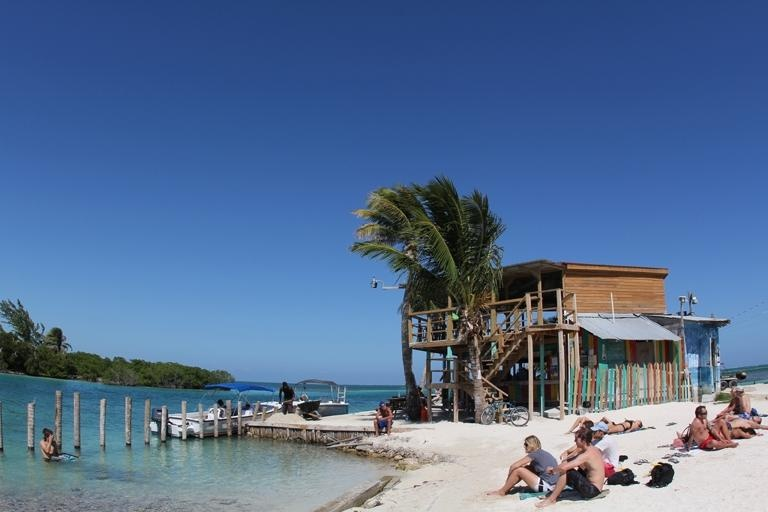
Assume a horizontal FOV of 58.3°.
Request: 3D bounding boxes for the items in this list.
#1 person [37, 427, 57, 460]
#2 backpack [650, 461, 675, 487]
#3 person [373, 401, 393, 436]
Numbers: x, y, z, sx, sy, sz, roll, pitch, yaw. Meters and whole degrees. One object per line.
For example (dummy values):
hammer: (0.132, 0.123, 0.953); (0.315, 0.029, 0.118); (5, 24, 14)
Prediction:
person: (-15.908, 8.914, 32.690); (0.766, 1.475, 1.096); (5, -14, -29)
backpack: (8.633, 6.692, 21.222); (0.368, 0.463, 1.194); (-2, -4, 39)
person: (-0.057, 7.850, 33.506); (0.870, 1.523, 2.382); (-1, -13, -1)
